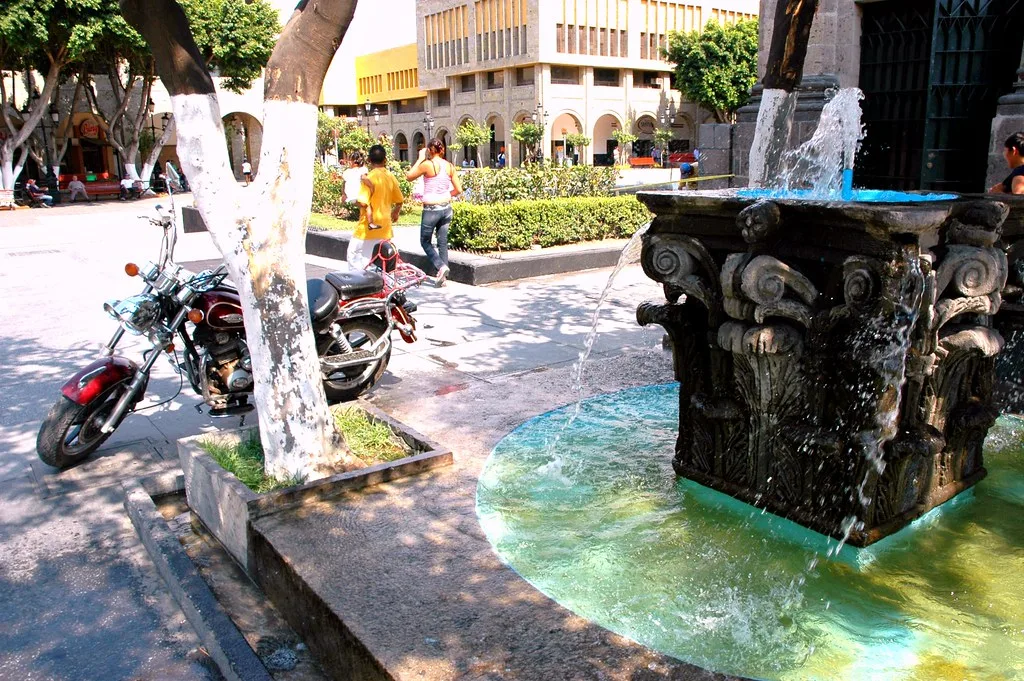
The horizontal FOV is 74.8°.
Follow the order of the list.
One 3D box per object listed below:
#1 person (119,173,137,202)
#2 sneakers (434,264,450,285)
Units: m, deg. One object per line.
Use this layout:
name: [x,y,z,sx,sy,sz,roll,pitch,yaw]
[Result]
person: [-22.319,-8.893,39.261,1.324,1.604,0.604,-2,2,-6]
sneakers: [-1.234,-1.163,11.856,0.158,0.375,0.157,26,2,0]
